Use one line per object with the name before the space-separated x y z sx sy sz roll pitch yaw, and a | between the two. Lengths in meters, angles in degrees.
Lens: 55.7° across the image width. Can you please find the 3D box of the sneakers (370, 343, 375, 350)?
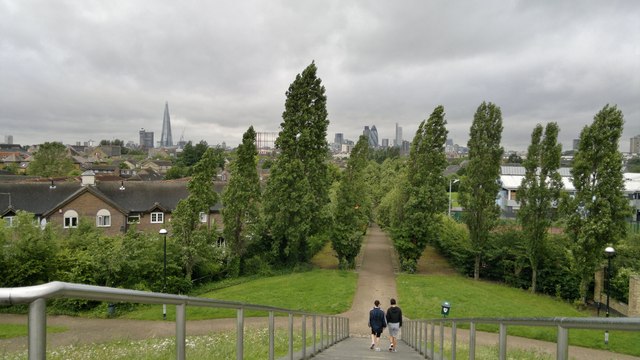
sneakers | 5.652 17.757 64.456 0.279 0.592 0.270 8 12 1
